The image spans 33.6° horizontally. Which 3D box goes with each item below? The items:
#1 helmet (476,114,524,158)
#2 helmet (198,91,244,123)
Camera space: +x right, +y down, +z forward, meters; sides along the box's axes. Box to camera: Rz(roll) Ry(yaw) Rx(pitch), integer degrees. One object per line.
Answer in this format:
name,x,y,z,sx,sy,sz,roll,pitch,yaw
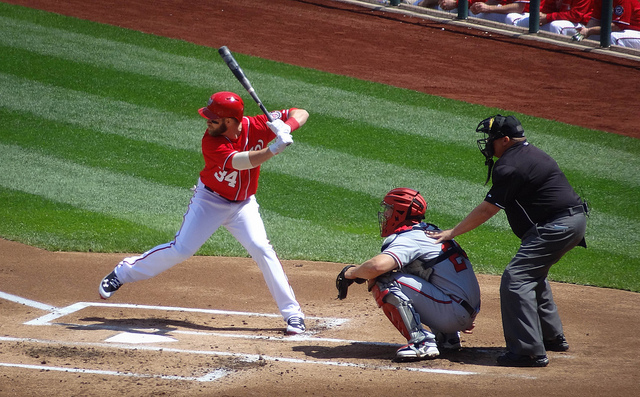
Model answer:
helmet,2.440,-0.861,14.307,0.695,0.482,0.491,-5,4,29
helmet,-1.351,-1.276,14.500,0.704,0.264,0.412,3,24,-13
